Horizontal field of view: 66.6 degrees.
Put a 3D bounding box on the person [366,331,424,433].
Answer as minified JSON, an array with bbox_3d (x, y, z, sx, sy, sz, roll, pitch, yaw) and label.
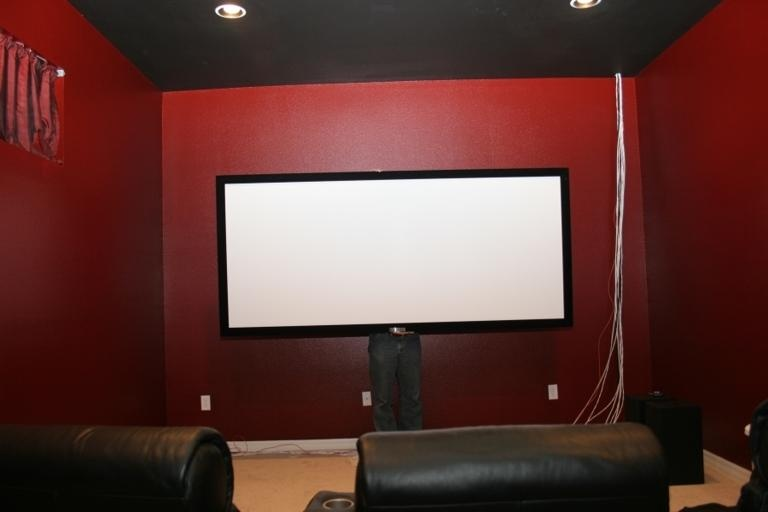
[{"bbox_3d":[0.098,1.055,5.033,0.442,0.843,0.212,-1,-7,-3],"label":"person"}]
